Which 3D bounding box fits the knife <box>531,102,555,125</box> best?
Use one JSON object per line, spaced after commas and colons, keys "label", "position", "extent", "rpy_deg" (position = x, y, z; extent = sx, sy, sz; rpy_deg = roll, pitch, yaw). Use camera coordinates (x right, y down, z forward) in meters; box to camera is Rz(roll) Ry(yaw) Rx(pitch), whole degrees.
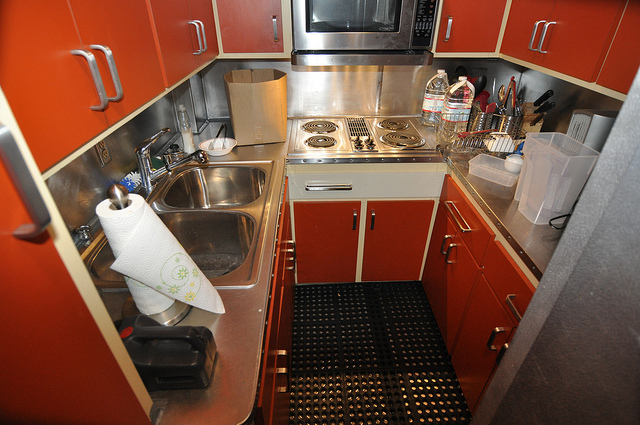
{"label": "knife", "position": [1.236, -0.557, 2.293], "extent": [0.042, 0.164, 0.019], "rpy_deg": [19, 28, -33]}

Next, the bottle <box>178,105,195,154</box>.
{"label": "bottle", "position": [-0.737, -0.472, 2.257], "extent": [0.057, 0.264, 0.159], "rpy_deg": [-10, 31, -16]}

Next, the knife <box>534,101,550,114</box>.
{"label": "knife", "position": [1.205, -0.579, 2.262], "extent": [0.050, 0.068, 0.092], "rpy_deg": [-3, 30, -5]}

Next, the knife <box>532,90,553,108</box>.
{"label": "knife", "position": [1.230, -0.628, 2.284], "extent": [0.062, 0.029, 0.122], "rpy_deg": [-37, 9, -24]}

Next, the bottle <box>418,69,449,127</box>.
{"label": "bottle", "position": [0.760, -0.738, 2.654], "extent": [0.200, 0.346, 0.204], "rpy_deg": [2, 17, -1]}

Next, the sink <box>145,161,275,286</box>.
{"label": "sink", "position": [-0.482, 0.074, 1.883], "extent": [0.531, 0.249, 0.851], "rpy_deg": [0, 34, -1]}

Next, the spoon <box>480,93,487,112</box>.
{"label": "spoon", "position": [0.941, -0.638, 2.381], "extent": [0.045, 0.072, 0.134], "rpy_deg": [10, 31, 18]}

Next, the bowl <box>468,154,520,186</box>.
{"label": "bowl", "position": [0.875, -0.228, 2.113], "extent": [0.227, 0.047, 0.293], "rpy_deg": [5, 30, 9]}

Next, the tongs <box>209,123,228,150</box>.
{"label": "tongs", "position": [-0.613, -0.452, 2.475], "extent": [0.036, 0.045, 0.259], "rpy_deg": [9, 64, 11]}

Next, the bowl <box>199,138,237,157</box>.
{"label": "bowl", "position": [-0.573, -0.374, 2.318], "extent": [0.210, 0.065, 0.170], "rpy_deg": [-6, 30, -10]}

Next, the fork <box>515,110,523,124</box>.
{"label": "fork", "position": [1.092, -0.524, 2.267], "extent": [0.023, 0.057, 0.061], "rpy_deg": [14, 33, 24]}

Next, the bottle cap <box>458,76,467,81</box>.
{"label": "bottle cap", "position": [0.792, -0.752, 2.283], "extent": [0.040, 0.014, 0.040], "rpy_deg": [-4, 25, 3]}

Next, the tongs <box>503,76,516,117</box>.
{"label": "tongs", "position": [1.087, -0.673, 2.338], "extent": [0.073, 0.169, 0.320], "rpy_deg": [12, 32, 21]}
